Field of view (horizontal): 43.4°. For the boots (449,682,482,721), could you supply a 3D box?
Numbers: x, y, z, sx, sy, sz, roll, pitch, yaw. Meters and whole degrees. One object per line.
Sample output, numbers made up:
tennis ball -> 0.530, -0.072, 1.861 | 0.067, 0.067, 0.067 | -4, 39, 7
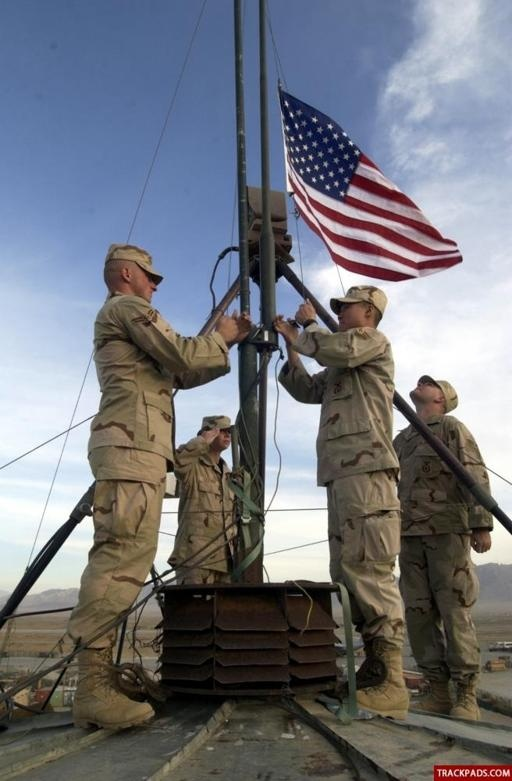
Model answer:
boots -> 1.264, 1.891, 3.913 | 0.162, 0.193, 0.390 | -3, -13, 15

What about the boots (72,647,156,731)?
boots -> -0.548, 1.111, 2.426 | 0.349, 0.314, 0.142 | -10, -16, 27

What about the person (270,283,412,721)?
person -> 0.490, 0.412, 3.179 | 0.558, 2.119, 0.965 | 5, -14, -19

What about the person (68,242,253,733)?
person -> -0.514, 0.285, 2.886 | 0.536, 2.122, 0.831 | -7, -15, 30
